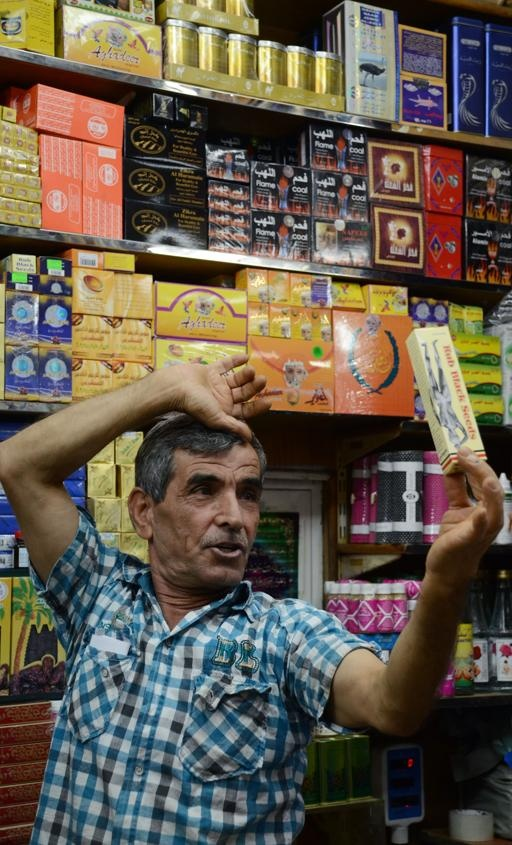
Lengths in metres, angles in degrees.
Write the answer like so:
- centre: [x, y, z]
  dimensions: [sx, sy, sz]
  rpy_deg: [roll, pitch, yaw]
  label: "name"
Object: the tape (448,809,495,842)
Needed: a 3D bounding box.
- centre: [0.707, 1.290, 2.606]
  dimensions: [0.103, 0.065, 0.106]
  rpy_deg: [-10, -15, 41]
  label: "tape"
